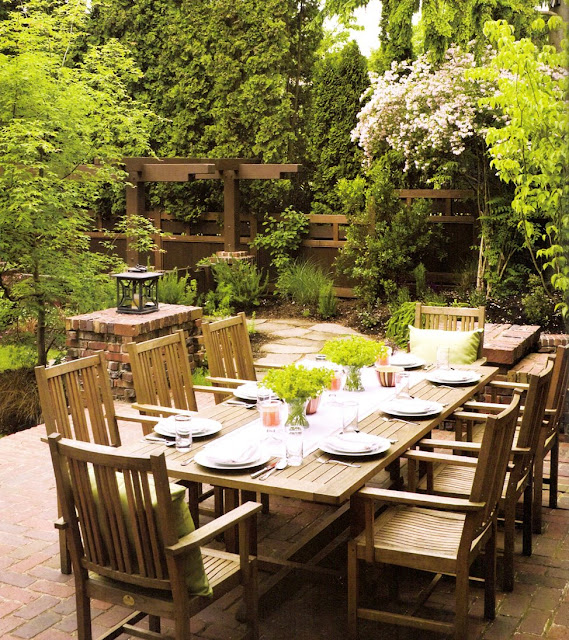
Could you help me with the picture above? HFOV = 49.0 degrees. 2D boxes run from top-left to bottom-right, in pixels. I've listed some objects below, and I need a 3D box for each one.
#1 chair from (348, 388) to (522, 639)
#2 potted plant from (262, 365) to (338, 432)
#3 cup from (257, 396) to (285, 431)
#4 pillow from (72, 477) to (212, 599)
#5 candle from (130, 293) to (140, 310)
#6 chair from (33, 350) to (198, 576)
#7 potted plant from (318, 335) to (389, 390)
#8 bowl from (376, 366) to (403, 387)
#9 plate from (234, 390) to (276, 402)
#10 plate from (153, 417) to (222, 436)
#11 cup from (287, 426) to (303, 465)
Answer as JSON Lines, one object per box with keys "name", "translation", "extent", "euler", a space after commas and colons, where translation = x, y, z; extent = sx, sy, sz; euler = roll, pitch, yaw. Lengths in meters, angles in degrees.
{"name": "chair", "translation": [0.644, 0.875, 2.690], "extent": [0.624, 1.085, 0.654], "euler": [2, 11, 23]}
{"name": "potted plant", "translation": [0.059, 0.365, 3.010], "extent": [0.345, 0.287, 0.321], "euler": [0, 0, -6]}
{"name": "cup", "translation": [-0.066, 0.469, 3.079], "extent": [0.148, 0.142, 0.166], "euler": [-1, 2, -1]}
{"name": "pillow", "translation": [-0.517, 0.765, 2.156], "extent": [0.184, 0.439, 0.533], "euler": [-22, 27, -38]}
{"name": "candle", "translation": [-1.619, -0.188, 6.740], "extent": [0.096, 0.179, 0.061], "euler": [-5, 11, -13]}
{"name": "chair", "translation": [-0.794, 0.686, 3.241], "extent": [0.810, 1.022, 0.890], "euler": [-3, 3, 40]}
{"name": "potted plant", "translation": [0.410, 0.256, 3.790], "extent": [0.394, 0.292, 0.363], "euler": [-1, 3, -9]}
{"name": "bowl", "translation": [0.648, 0.348, 3.884], "extent": [0.144, 0.079, 0.135], "euler": [-1, 6, 0]}
{"name": "plate", "translation": [-0.161, 0.423, 3.478], "extent": [0.151, 0.018, 0.142], "euler": [-3, 7, -36]}
{"name": "plate", "translation": [-0.449, 0.521, 3.005], "extent": [0.215, 0.031, 0.188], "euler": [1, 3, 4]}
{"name": "cup", "translation": [0.042, 0.536, 2.669], "extent": [0.068, 0.158, 0.092], "euler": [-2, 11, 3]}
